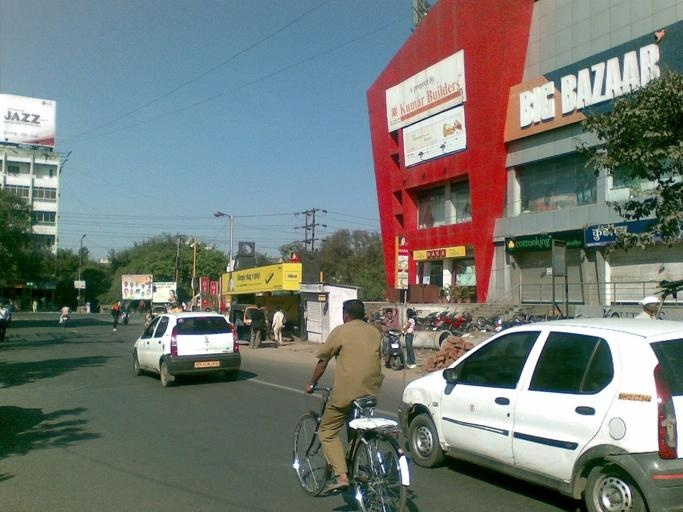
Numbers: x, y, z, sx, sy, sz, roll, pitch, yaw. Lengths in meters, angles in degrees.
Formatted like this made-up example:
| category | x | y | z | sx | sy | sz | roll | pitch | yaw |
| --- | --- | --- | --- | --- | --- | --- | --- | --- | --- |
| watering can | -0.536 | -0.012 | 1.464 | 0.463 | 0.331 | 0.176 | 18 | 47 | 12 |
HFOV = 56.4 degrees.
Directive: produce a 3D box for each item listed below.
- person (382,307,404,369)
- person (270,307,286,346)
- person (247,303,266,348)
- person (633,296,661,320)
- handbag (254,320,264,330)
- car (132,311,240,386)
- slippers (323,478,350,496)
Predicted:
| category | x | y | z | sx | sy | sz | roll | pitch | yaw |
| --- | --- | --- | --- | --- | --- | --- | --- | --- | --- |
| person | 1.648 | 2.735 | 20.433 | 0.795 | 1.315 | 1.971 | 3 | 10 | 1 |
| person | -2.864 | 3.285 | 29.206 | 0.465 | 1.624 | 1.742 | 0 | -5 | -5 |
| person | -3.731 | 3.224 | 28.523 | 0.651 | 1.736 | 1.084 | 0 | -4 | -7 |
| person | 5.840 | 0.971 | 12.036 | 0.345 | 0.373 | 0.973 | -3 | -6 | 26 |
| handbag | -3.587 | 3.069 | 28.186 | 0.249 | 0.416 | 0.538 | -3 | -6 | 35 |
| car | -4.122 | 2.253 | 16.277 | 1.457 | 1.271 | 2.475 | 1 | 2 | -34 |
| slippers | -0.075 | 3.018 | 8.369 | 0.204 | 0.234 | 0.593 | 1 | -19 | -23 |
